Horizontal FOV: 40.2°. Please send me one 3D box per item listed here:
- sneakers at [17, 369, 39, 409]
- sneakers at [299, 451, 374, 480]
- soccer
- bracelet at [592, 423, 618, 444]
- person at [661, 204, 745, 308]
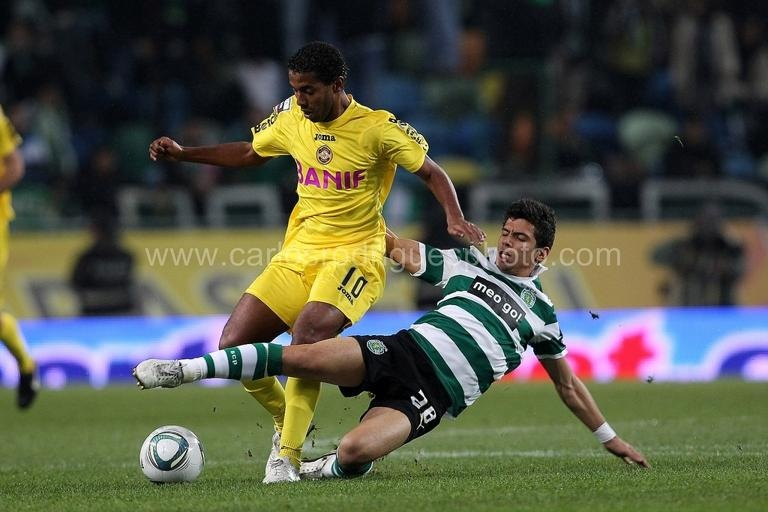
[{"bbox_3d":[-3.548,1.316,10.442,0.184,0.350,0.134,4,5,-5],"label":"sneakers"},{"bbox_3d":[-0.363,1.720,8.692,0.652,0.279,0.234,1,-10,-1],"label":"sneakers"},{"bbox_3d":[-1.789,1.703,8.822,0.565,0.553,0.556,3,-9,4],"label":"soccer"},{"bbox_3d":[1.893,1.480,8.953,0.183,0.185,0.169,-21,31,22],"label":"bracelet"},{"bbox_3d":[3.982,0.007,12.944,0.849,1.201,0.333,0,-3,14],"label":"person"}]
